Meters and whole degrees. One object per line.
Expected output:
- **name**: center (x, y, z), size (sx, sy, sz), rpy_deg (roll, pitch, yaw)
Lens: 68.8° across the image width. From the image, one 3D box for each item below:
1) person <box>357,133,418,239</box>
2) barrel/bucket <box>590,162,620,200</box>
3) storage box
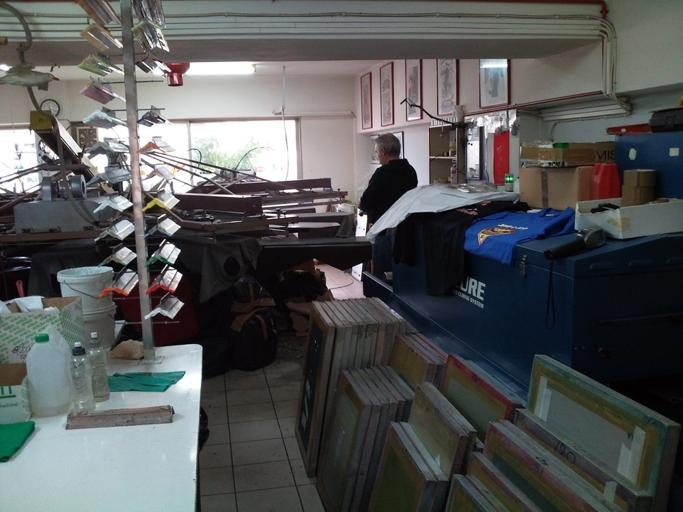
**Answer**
- **person**: center (0.455, -0.726, 5.019), size (0.566, 0.965, 0.889), rpy_deg (2, 15, 6)
- **barrel/bucket**: center (1.630, -0.456, 3.076), size (0.121, 0.223, 0.243), rpy_deg (-6, 16, -23)
- **storage box**: center (1.605, -0.580, 3.539), size (0.642, 0.433, 0.607), rpy_deg (-3, 7, -20)
